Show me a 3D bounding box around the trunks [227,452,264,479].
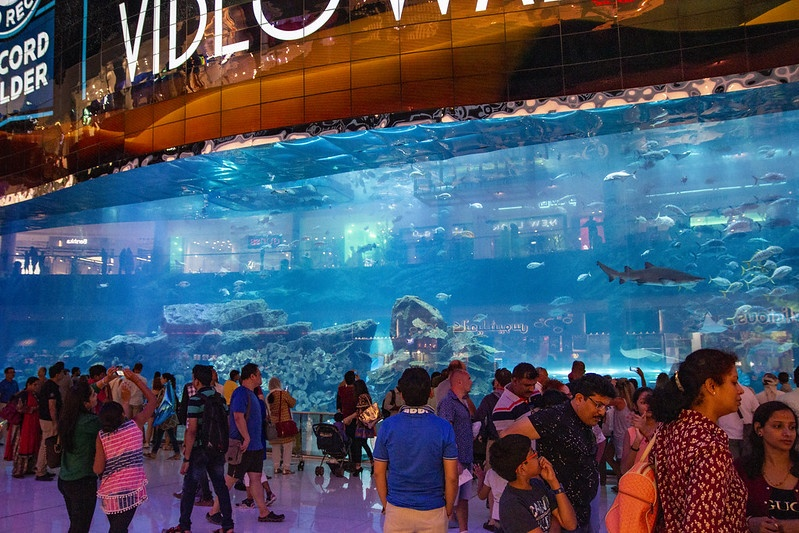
[{"bbox_3d":[-3.142,4.009,13.383,0.723,0.561,0.376,3,-6,2],"label":"trunks"}]

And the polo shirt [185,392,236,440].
[{"bbox_3d":[-3.738,2.977,13.037,1.083,1.019,0.579,1,-9,-24],"label":"polo shirt"}]

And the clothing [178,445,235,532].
[{"bbox_3d":[-3.804,4.394,13.069,1.061,1.638,0.618,2,-9,-8],"label":"clothing"}]

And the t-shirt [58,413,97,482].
[{"bbox_3d":[-5.544,3.127,11.458,0.603,1.139,0.238,3,-10,-13],"label":"t-shirt"}]

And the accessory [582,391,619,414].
[{"bbox_3d":[3.163,2.152,10.405,0.443,0.307,0.159,2,-9,-10],"label":"accessory"}]
